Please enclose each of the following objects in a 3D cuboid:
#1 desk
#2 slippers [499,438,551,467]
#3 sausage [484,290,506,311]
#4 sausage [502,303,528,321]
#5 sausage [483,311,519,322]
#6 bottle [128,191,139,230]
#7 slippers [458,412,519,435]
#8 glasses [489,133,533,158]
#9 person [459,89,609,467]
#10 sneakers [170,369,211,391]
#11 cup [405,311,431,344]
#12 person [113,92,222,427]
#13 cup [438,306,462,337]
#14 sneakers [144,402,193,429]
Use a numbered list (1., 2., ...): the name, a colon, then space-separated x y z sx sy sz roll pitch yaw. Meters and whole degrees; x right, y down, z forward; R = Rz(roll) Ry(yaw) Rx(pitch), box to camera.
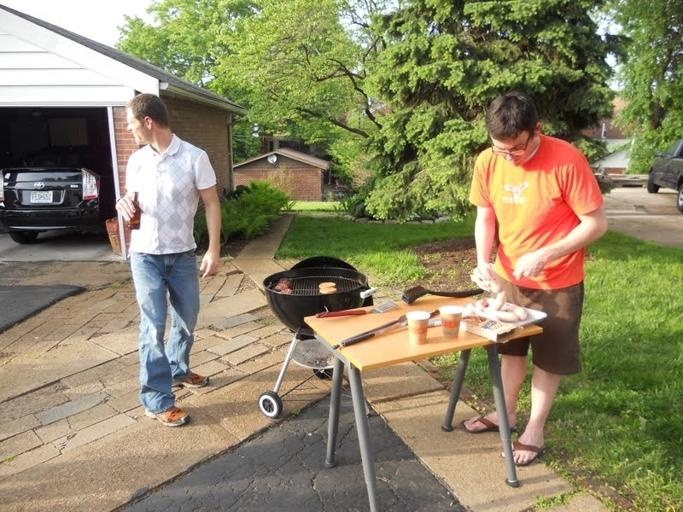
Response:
1. desk: 0.459 1.003 3.880 1.313 1.365 0.832 -3 12 -19
2. slippers: 1.376 1.474 4.042 0.326 0.088 0.170 -10 41 -8
3. sausage: 1.101 0.307 3.834 0.132 0.048 0.135 -50 16 -22
4. sausage: 1.194 0.383 3.756 0.121 0.040 0.121 10 20 42
5. sausage: 1.095 0.413 3.712 0.140 0.033 0.084 10 10 5
6. bottle: -1.716 -0.365 4.442 0.106 0.303 0.085 1 11 0
7. slippers: 1.166 1.359 4.341 0.331 0.087 0.192 3 4 0
8. glasses: 1.156 -0.765 3.711 0.261 0.157 0.184 6 12 23
9. person: 1.337 0.198 4.046 0.868 2.680 1.040 -9 13 -35
10. sneakers: -1.367 1.129 4.928 0.272 0.109 0.155 -2 4 -1
11. cup: 0.503 0.472 3.621 0.189 0.180 0.188 0 4 0
12. person: -1.417 -0.034 4.506 0.775 2.563 0.581 -4 12 -24
13. cup: 0.727 0.427 3.610 0.175 0.166 0.175 -2 12 0
14. sneakers: -1.453 1.322 4.525 0.372 0.162 0.154 5 6 14
